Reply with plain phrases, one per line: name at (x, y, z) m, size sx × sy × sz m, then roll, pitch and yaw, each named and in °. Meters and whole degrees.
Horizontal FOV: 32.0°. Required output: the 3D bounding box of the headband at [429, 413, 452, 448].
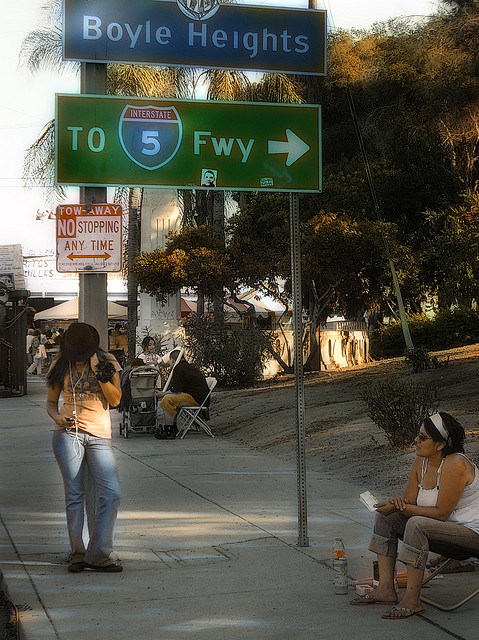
headband at (1.070, 0.585, 4.531) m, size 0.053 × 0.142 × 0.106 m, roll -30°, pitch -20°, yaw 21°

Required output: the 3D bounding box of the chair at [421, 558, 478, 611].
chair at (1.113, 1.410, 4.525) m, size 0.251 × 0.250 × 0.448 m, roll 0°, pitch 2°, yaw 0°

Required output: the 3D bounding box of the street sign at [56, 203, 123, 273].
street sign at (-1.052, -0.581, 5.868) m, size 0.464 × 0.485 × 0.302 m, roll -1°, pitch 2°, yaw -13°

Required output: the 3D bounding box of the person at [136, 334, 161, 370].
person at (-1.894, 0.644, 17.426) m, size 0.409 × 0.722 × 0.815 m, roll -4°, pitch 4°, yaw 22°

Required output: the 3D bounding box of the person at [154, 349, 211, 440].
person at (-0.929, 1.159, 13.469) m, size 0.911 × 1.385 × 1.084 m, roll 0°, pitch 2°, yaw -3°

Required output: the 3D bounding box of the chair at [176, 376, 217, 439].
chair at (-0.685, 1.331, 13.763) m, size 0.670 × 0.922 × 0.596 m, roll 2°, pitch 11°, yaw 1°
